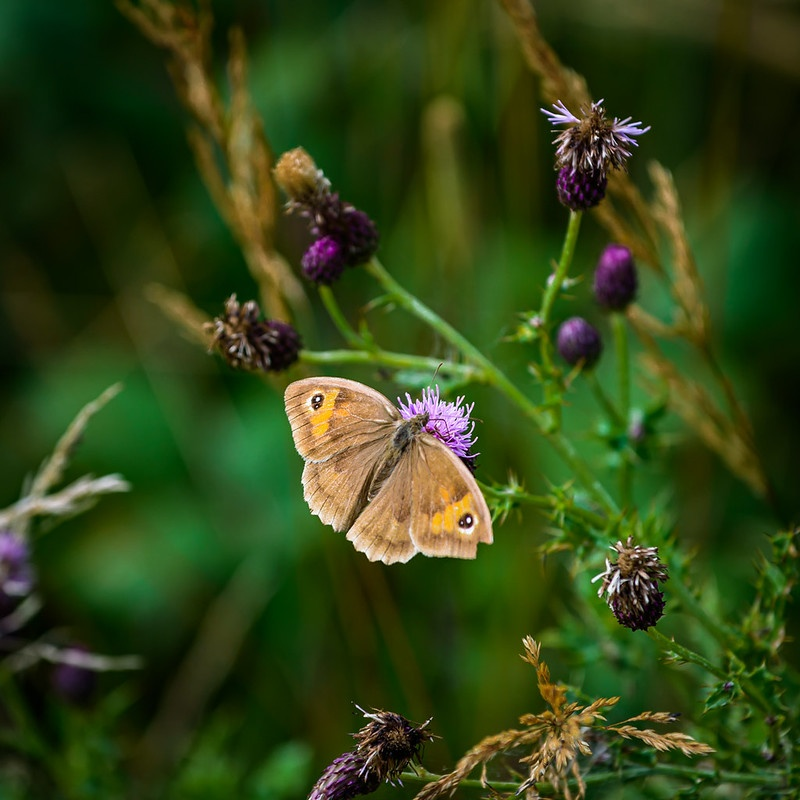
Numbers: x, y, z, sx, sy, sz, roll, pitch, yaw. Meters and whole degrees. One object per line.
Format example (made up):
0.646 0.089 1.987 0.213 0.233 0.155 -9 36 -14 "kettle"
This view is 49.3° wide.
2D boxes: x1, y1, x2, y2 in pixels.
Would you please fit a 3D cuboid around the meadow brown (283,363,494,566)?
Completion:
-0.045 0.231 2.404 0.522 0.555 0.709 -13 26 -8 "meadow brown"

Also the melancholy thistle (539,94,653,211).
0.515 -0.677 2.398 0.255 0.273 0.371 12 101 25 "melancholy thistle"
